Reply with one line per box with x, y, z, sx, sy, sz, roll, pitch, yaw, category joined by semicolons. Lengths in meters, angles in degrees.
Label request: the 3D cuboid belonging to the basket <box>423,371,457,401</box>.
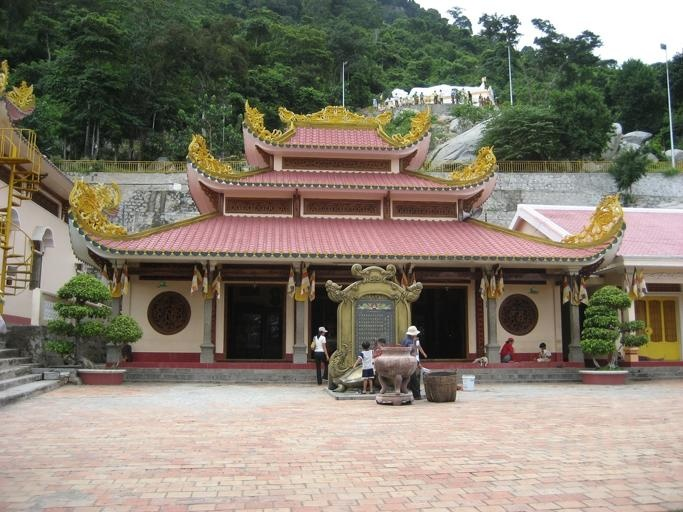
2.204;2.891;14.090;0.705;0.476;0.643;5;-14;-14;basket

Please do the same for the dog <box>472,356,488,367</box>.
4.126;3.137;18.993;0.483;0.256;0.421;-6;-7;40;dog

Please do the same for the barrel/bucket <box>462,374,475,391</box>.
3.316;3.270;16.515;0.423;0.393;0.433;2;-2;0;barrel/bucket

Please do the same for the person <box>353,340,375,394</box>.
0.603;2.609;14.975;0.352;1.178;0.590;-1;-6;-2;person

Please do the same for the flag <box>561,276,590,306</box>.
7.079;1.064;19.486;0.744;0.874;0.874;-3;-6;18;flag

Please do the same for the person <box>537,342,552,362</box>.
6.124;2.958;19.487;0.537;0.698;0.512;5;-13;3;person

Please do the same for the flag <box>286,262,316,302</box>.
-1.137;0.799;18.862;0.665;1.145;1.195;-3;-6;17;flag

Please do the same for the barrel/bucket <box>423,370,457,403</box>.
2.164;2.858;13.964;0.750;0.495;0.654;0;-15;-2;barrel/bucket

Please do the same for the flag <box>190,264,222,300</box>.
-3.926;0.716;18.543;0.992;1.194;0.410;9;-13;-36;flag

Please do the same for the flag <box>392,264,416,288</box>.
1.925;0.584;19.221;0.601;0.915;0.711;2;-1;10;flag

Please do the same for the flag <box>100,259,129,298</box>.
-6.377;0.621;17.984;1.112;1.454;0.387;4;6;36;flag

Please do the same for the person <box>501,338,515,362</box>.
4.937;2.829;19.242;0.383;0.698;0.599;-3;-6;13;person
